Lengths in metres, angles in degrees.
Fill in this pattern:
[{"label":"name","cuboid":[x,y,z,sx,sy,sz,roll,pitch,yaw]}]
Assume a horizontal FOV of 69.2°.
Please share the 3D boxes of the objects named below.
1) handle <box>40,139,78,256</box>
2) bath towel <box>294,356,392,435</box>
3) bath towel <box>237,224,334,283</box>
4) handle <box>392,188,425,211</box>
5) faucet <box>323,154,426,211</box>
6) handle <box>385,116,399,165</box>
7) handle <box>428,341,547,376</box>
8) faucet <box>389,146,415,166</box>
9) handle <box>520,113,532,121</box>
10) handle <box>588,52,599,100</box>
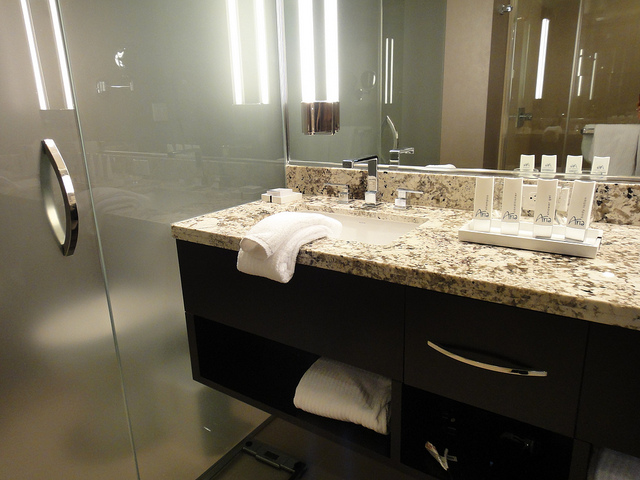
[{"label":"handle","cuboid":[-0.739,-0.112,1.340,0.044,0.345,0.085,-17,24,-41]},{"label":"bath towel","cuboid":[0.101,0.567,1.726,0.360,0.119,0.182,8,20,25]},{"label":"bath towel","cuboid":[-0.109,-0.014,1.643,0.350,0.177,0.323,7,18,32]},{"label":"handle","cuboid":[0.366,-0.171,1.939,0.114,0.074,0.140,8,20,24]},{"label":"faucet","cuboid":[0.240,-0.276,2.061,0.431,0.213,0.178,5,23,13]},{"label":"handle","cuboid":[0.316,-0.462,2.007,0.012,0.135,0.063,-16,23,-39]},{"label":"handle","cuboid":[0.460,0.354,1.351,0.036,0.053,0.491,-1,-3,-21]},{"label":"faucet","cuboid":[0.349,-0.367,2.006,0.054,0.065,0.102,8,17,33]},{"label":"handle","cuboid":[0.761,-0.454,1.718,0.042,0.027,0.010,7,19,22]},{"label":"handle","cuboid":[0.940,-0.560,1.594,0.016,0.152,0.008,5,19,19]}]
